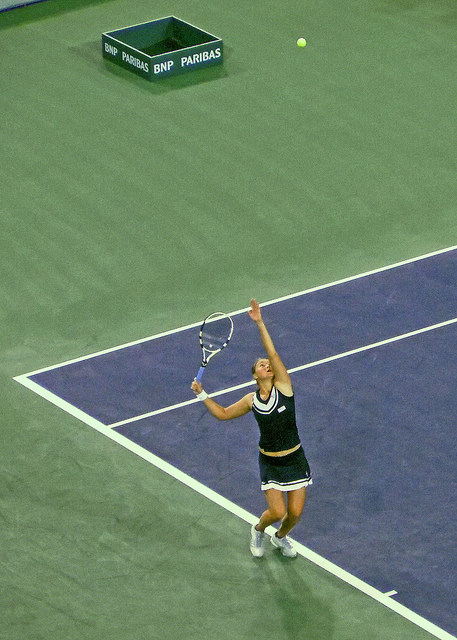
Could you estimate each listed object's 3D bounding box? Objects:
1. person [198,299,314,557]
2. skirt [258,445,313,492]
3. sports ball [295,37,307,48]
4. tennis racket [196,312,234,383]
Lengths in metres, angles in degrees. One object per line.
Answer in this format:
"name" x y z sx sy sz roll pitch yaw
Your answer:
"person" 0.348 1.005 7.124 0.728 2.346 0.888 -13 39 -12
"skirt" 0.436 1.173 7.165 0.451 0.267 0.404 -14 69 11
"sports ball" 1.336 -5.201 16.843 0.221 0.142 0.389 1 37 5
"tennis racket" -0.199 0.330 7.912 0.262 0.888 0.069 12 33 -15
